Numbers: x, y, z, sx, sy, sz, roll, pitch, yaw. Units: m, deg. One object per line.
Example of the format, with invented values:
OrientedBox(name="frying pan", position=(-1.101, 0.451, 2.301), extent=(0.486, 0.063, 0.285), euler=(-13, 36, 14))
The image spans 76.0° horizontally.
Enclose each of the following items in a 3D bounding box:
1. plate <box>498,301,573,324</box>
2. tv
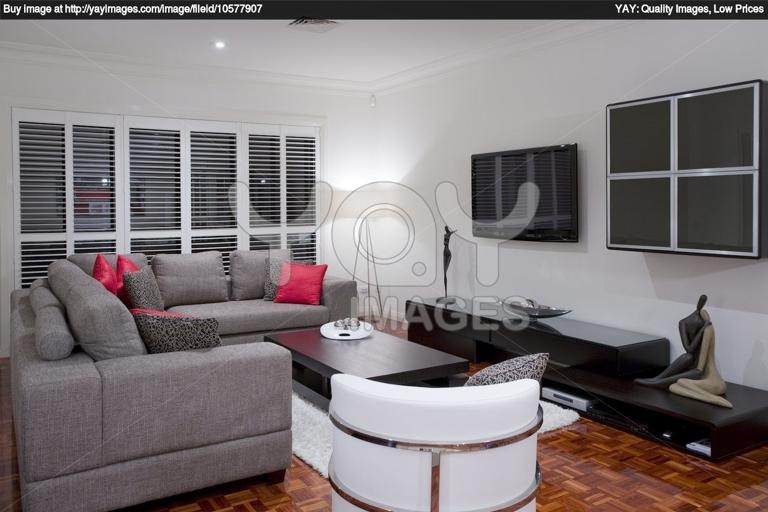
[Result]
OrientedBox(name="plate", position=(1.127, 0.416, 3.706), extent=(0.135, 0.121, 0.550), euler=(2, -1, -37))
OrientedBox(name="tv", position=(1.095, -0.463, 3.744), extent=(0.069, 0.614, 0.961), euler=(2, -2, -32))
